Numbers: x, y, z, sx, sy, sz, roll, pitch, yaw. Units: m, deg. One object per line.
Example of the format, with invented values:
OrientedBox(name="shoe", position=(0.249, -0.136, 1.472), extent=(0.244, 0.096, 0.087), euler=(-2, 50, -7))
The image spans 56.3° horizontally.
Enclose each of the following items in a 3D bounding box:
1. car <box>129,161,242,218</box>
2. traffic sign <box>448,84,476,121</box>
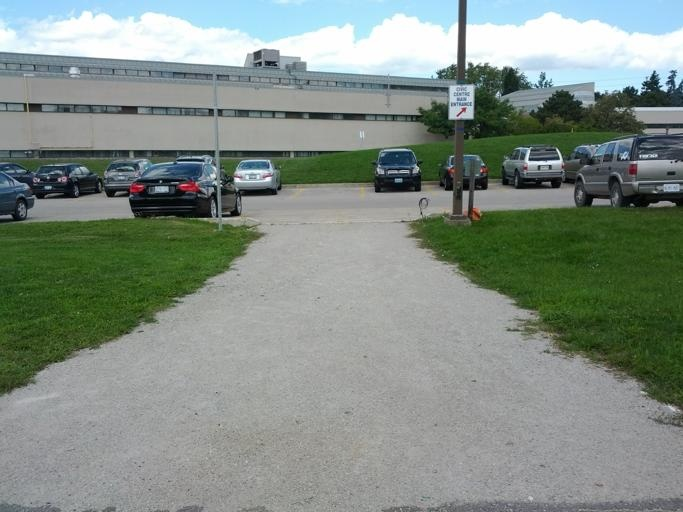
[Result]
OrientedBox(name="car", position=(-4.246, -2.129, 18.816), extent=(1.516, 1.182, 3.560), euler=(1, 10, 5))
OrientedBox(name="traffic sign", position=(2.896, -3.669, 15.311), extent=(0.561, 0.869, 0.754), euler=(3, 12, 15))
